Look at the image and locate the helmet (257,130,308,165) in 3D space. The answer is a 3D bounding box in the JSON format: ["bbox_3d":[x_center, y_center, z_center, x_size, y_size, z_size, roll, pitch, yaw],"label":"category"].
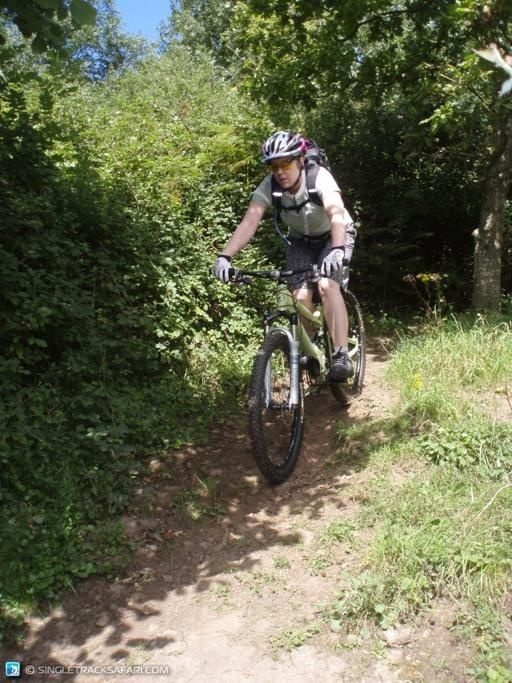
[{"bbox_3d":[0.215,-1.387,4.384,0.203,0.129,0.290,4,31,27],"label":"helmet"}]

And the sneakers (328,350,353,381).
[{"bbox_3d":[0.626,0.180,4.681,0.172,0.240,0.346,-6,4,5],"label":"sneakers"}]

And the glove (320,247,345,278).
[{"bbox_3d":[0.517,-0.526,4.125,0.132,0.061,0.239,29,27,-1],"label":"glove"}]

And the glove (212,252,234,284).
[{"bbox_3d":[-0.232,-0.515,4.226,0.078,0.201,0.157,11,-16,-25],"label":"glove"}]
